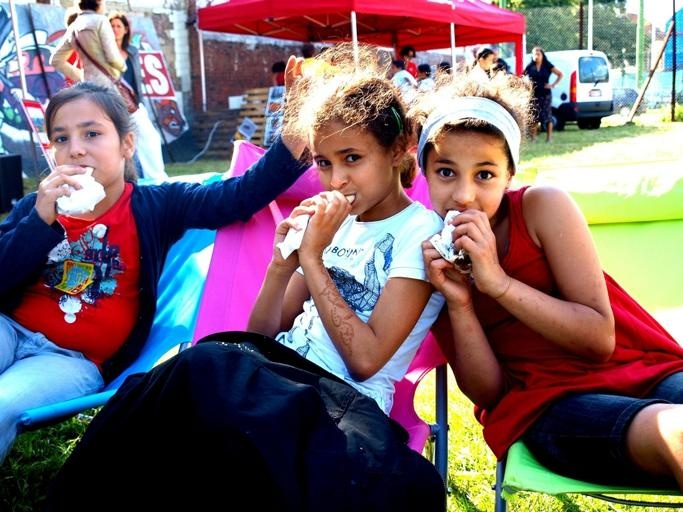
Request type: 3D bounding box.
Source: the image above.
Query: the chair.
[{"bbox_3d":[-0.407,0.114,3.114,1.500,1.507,2.291,1,0,-4],"label":"chair"}]

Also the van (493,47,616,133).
[{"bbox_3d":[4.779,-3.644,12.582,1.457,1.272,2.282,-9,27,-14],"label":"van"}]

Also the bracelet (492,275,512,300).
[{"bbox_3d":[0.454,0.093,1.638,0.041,0.055,0.056,38,70,6],"label":"bracelet"}]
